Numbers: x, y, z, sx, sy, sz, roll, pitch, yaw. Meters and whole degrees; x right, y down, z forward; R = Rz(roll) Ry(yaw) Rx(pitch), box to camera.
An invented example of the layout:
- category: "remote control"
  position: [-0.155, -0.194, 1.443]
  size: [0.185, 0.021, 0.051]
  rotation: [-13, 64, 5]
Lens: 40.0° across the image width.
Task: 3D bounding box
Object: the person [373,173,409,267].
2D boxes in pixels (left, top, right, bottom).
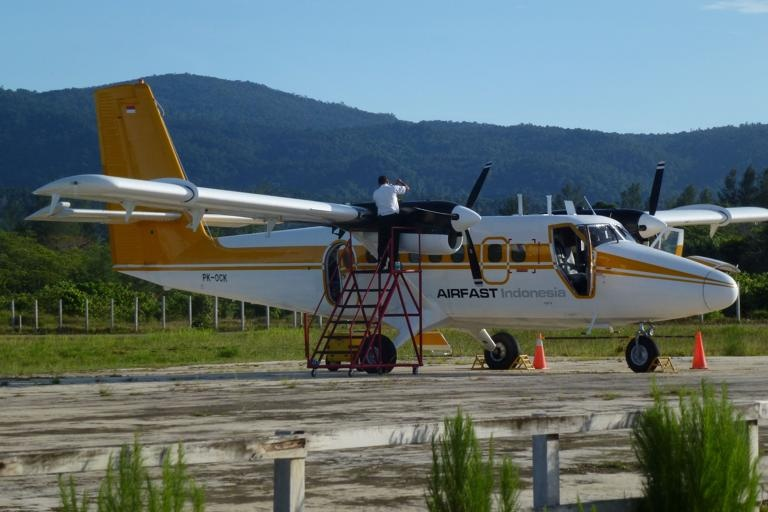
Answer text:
- category: "person"
  position: [0.071, -0.787, 24.577]
  size: [0.821, 2.041, 0.624]
  rotation: [5, 10, 31]
